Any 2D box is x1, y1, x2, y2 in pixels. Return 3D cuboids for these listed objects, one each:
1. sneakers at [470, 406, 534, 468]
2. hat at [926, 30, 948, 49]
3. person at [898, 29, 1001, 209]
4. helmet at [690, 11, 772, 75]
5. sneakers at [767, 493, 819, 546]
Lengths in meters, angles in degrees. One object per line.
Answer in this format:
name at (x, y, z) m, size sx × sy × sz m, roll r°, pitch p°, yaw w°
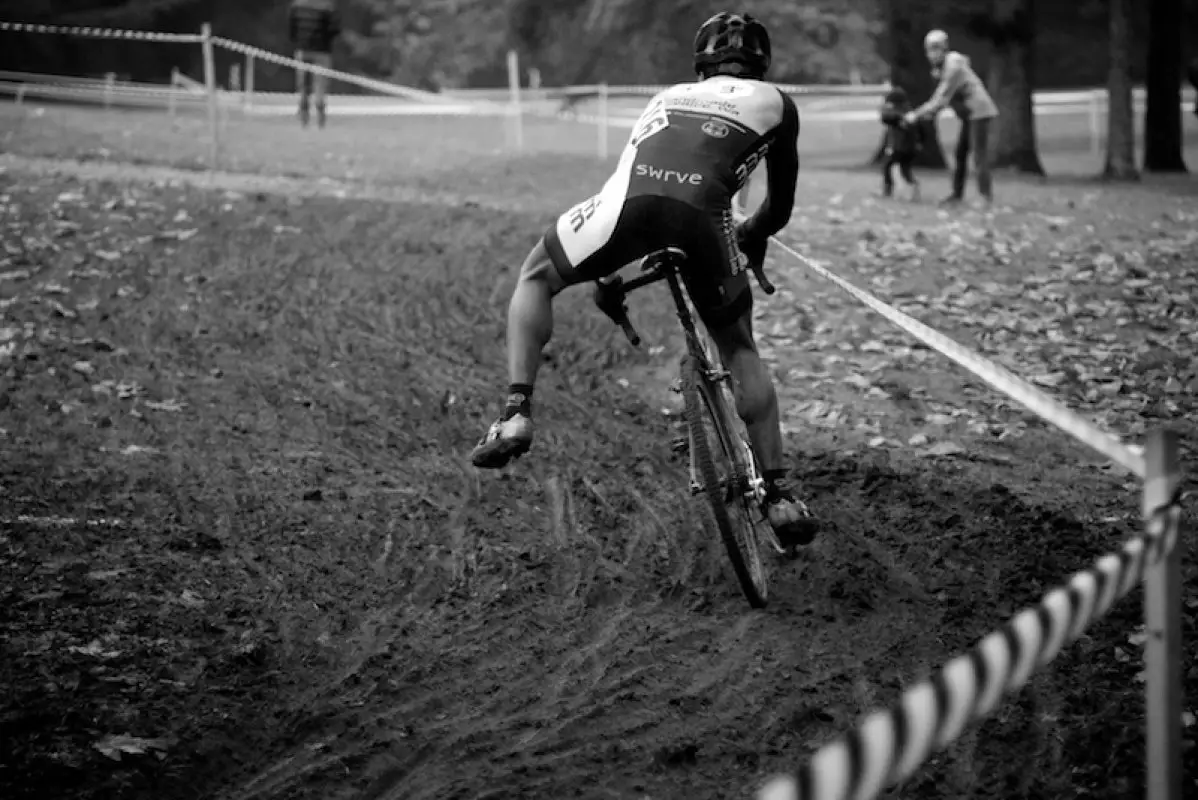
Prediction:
sneakers at (-0.546, 0.240, 6.350) m, size 0.389 × 0.194 × 0.257 m, roll -36°, pitch -11°, yaw 21°
hat at (2.983, -3.160, 10.031) m, size 0.177 × 0.208 × 0.255 m, roll 6°, pitch 28°, yaw 27°
person at (3.132, -2.470, 9.955) m, size 0.730 × 1.484 × 0.519 m, roll 3°, pitch 11°, yaw 19°
helmet at (0.805, -2.174, 6.920) m, size 0.318 × 0.339 × 0.440 m, roll 6°, pitch 33°, yaw 1°
sneakers at (1.161, 0.738, 6.657) m, size 0.231 × 0.240 × 0.331 m, roll 21°, pitch -15°, yaw 40°
